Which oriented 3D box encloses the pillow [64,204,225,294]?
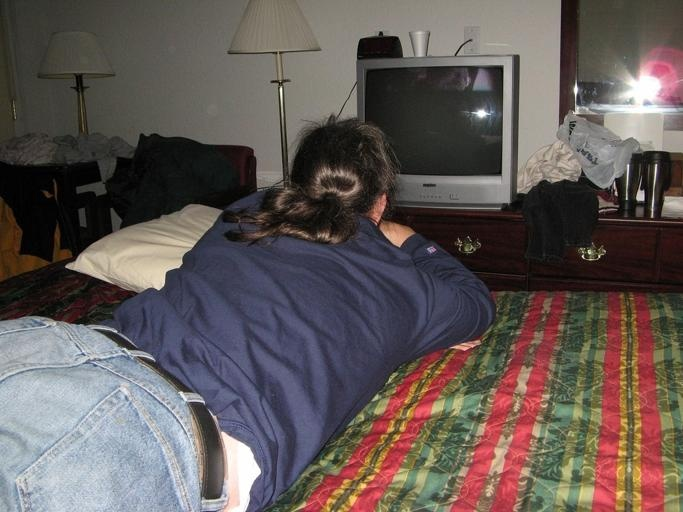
[{"bbox_3d":[-0.568,-0.059,1.742,0.316,0.088,0.373,27,41,21],"label":"pillow"}]

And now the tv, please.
[{"bbox_3d":[0.493,-0.633,2.880,0.803,0.743,0.479,3,11,14],"label":"tv"}]

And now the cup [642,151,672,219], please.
[{"bbox_3d":[1.388,-0.318,2.437,0.122,0.294,0.122,-1,14,0],"label":"cup"}]

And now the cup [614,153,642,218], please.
[{"bbox_3d":[1.292,-0.325,2.475,0.095,0.273,0.087,-1,14,0],"label":"cup"}]
